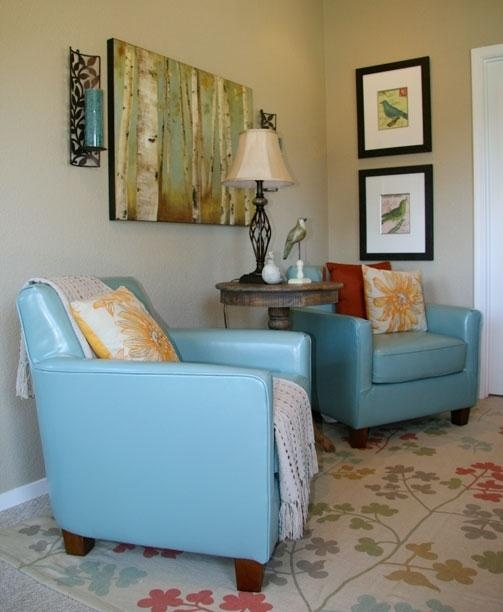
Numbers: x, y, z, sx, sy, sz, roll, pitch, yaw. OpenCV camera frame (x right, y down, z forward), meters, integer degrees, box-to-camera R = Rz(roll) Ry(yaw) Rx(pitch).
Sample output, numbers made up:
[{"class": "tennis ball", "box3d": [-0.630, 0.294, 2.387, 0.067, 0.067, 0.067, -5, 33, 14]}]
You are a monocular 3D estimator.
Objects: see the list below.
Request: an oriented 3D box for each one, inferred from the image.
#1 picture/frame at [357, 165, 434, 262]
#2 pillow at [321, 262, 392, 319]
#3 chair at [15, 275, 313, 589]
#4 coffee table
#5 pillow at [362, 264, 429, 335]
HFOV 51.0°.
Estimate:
[{"class": "picture/frame", "box3d": [0.909, -0.581, 3.279, 0.632, 0.734, 0.032, 3, 8, 34]}, {"class": "pillow", "box3d": [0.461, -0.055, 2.734, 0.143, 0.283, 0.365, -15, -4, 36]}, {"class": "chair", "box3d": [-0.232, 0.347, 1.694, 0.860, 0.827, 0.784, 1, 4, 13]}, {"class": "coffee table", "box3d": [0.122, 0.252, 2.583, 0.694, 0.802, 0.728, 0, 2, 22]}, {"class": "pillow", "box3d": [0.728, -0.012, 2.698, 0.388, 0.363, 0.137, -1, -3, -23]}]
